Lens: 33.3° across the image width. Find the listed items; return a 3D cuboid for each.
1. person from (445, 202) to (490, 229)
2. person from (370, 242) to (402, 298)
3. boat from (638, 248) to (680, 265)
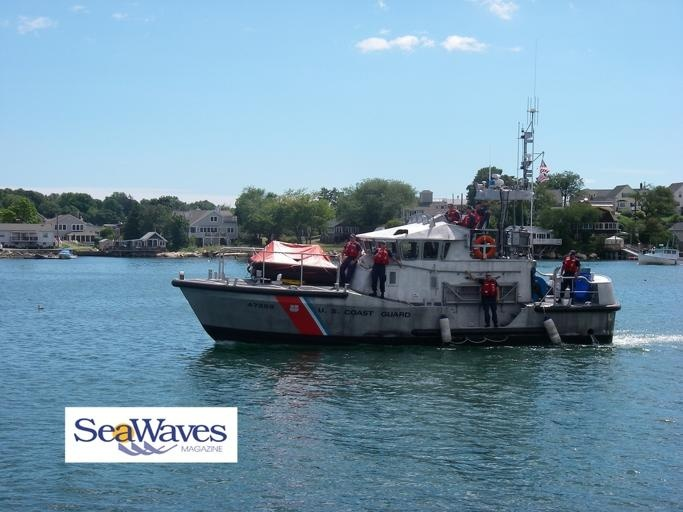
[{"bbox_3d":[5.143,-1.617,46.083,1.755,0.839,0.973,4,2,1],"label":"person"},{"bbox_3d":[1.610,0.547,44.538,0.743,1.557,0.752,-1,0,34],"label":"person"},{"bbox_3d":[34.132,0.051,123.348,4.200,1.947,4.938,-1,0,13],"label":"boat"}]
